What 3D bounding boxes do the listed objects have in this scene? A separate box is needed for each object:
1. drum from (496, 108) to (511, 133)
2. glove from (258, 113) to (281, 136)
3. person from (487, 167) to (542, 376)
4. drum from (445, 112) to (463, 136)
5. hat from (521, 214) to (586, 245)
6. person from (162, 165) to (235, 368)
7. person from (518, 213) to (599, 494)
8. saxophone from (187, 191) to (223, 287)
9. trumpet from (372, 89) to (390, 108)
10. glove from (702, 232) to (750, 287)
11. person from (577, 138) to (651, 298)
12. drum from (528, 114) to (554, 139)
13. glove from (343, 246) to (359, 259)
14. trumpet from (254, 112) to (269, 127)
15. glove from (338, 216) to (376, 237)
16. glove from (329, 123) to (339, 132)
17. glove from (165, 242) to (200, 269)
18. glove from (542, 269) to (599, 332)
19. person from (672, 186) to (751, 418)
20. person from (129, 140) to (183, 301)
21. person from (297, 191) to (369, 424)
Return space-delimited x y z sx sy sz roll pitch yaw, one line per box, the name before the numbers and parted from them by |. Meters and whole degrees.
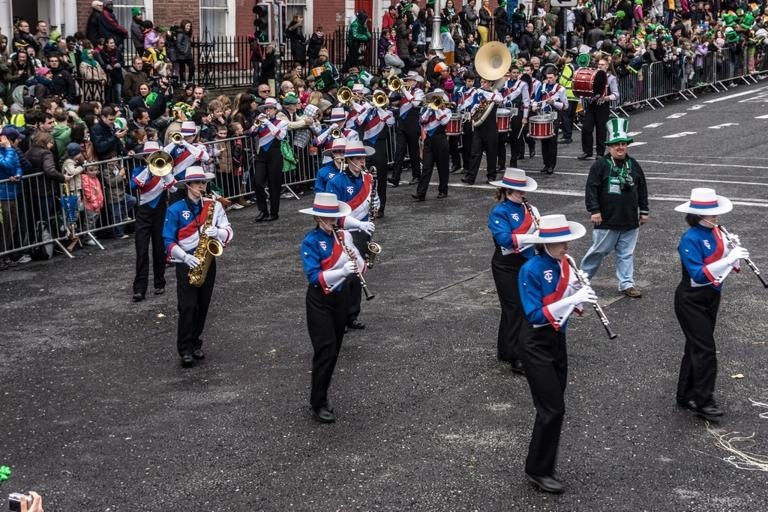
drum | 3.411 -3.908 19.427 0.654 0.585 0.647 -3 16 -10
glove | -2.685 -3.092 15.993 0.504 0.484 0.363 -4 12 -3
person | 1.868 0.183 9.157 0.814 2.672 0.883 3 10 34
drum | 1.945 -3.703 18.980 0.246 0.610 0.748 8 16 41
hat | 1.746 -0.251 7.037 0.445 0.180 0.516 -7 6 -1
person | -2.614 0.124 9.599 0.892 2.778 0.990 4 6 21
person | 1.809 1.016 6.913 0.870 2.766 0.873 -1 6 12
saxophone | -2.392 -0.224 9.512 0.439 1.232 0.573 2 -1 -5
trumpet | -0.083 -3.831 16.578 0.377 0.453 0.349 34 9 -5
glove | 4.057 0.040 8.015 0.416 0.514 0.780 4 14 29
person | 3.829 -0.734 11.552 1.293 2.818 0.927 8 16 41
drum | 4.564 -3.769 19.635 0.721 0.506 0.735 -2 14 1
glove | -0.393 -0.043 8.090 0.163 0.064 0.116 45 -4 41
trumpet | -2.948 -3.231 15.993 0.266 0.315 0.462 -8 7 13
glove | -0.440 -0.501 10.442 0.577 0.187 0.215 23 8 -40
glove | -1.101 -2.944 15.334 0.174 0.140 0.591 -4 12 -4
glove | -2.731 0.012 9.334 0.469 0.327 0.154 4 14 31
glove | 1.900 0.455 6.786 0.349 0.507 0.591 9 17 43
person | 3.961 0.497 8.227 0.938 2.657 1.096 -1 0 -16
person | -4.002 -0.620 11.832 0.810 2.673 1.015 3 13 -5
person | -0.564 0.613 8.026 0.811 2.583 0.905 1 2 -21
